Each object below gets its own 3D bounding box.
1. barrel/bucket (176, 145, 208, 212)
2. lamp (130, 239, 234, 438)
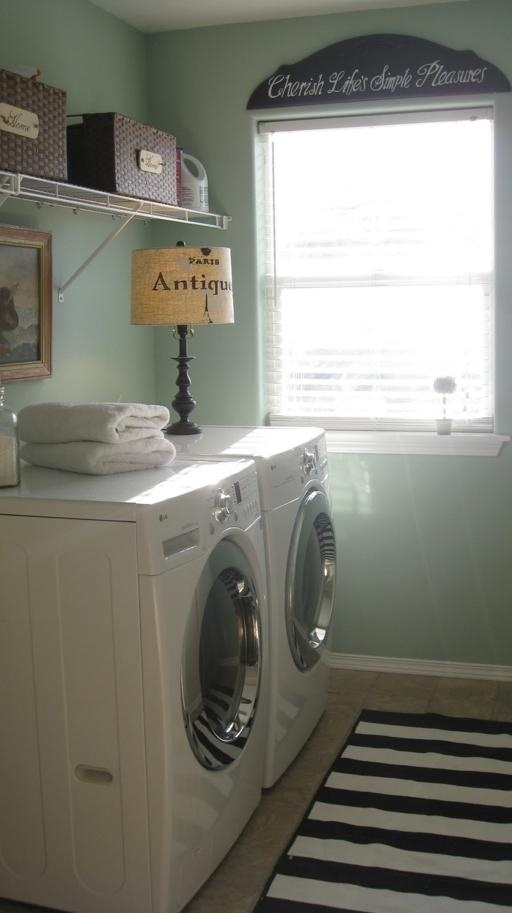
[{"bbox_3d":[-0.226,-1.014,2.357,0.093,0.187,0.168,-5,21,-24],"label":"barrel/bucket"},{"bbox_3d":[-0.233,-0.356,1.999,0.311,0.579,0.328,0,0,-6],"label":"lamp"}]
